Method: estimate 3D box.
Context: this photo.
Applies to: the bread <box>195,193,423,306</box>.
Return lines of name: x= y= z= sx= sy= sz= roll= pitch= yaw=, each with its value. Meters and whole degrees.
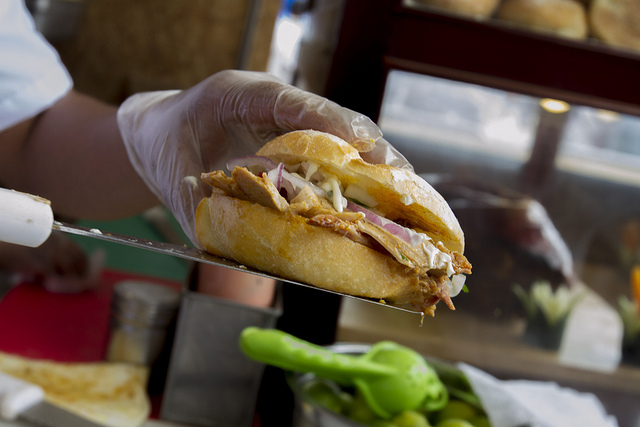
bread: x=-0.010 y=0.113 z=1.546 sx=0.392 sy=0.113 sz=0.321 roll=20 pitch=-1 yaw=-39

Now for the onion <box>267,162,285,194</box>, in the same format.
onion: x=-0.111 y=-0.095 z=1.534 sx=0.056 sy=0.062 sz=0.017 roll=21 pitch=11 yaw=27

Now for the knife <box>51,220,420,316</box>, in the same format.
knife: x=-0.209 y=0.119 z=1.502 sx=0.867 sy=0.238 sz=0.191 roll=11 pitch=48 yaw=-4

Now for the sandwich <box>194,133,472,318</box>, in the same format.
sandwich: x=0.050 y=0.055 z=1.558 sx=0.556 sy=0.309 sz=0.507 roll=13 pitch=-1 yaw=1
